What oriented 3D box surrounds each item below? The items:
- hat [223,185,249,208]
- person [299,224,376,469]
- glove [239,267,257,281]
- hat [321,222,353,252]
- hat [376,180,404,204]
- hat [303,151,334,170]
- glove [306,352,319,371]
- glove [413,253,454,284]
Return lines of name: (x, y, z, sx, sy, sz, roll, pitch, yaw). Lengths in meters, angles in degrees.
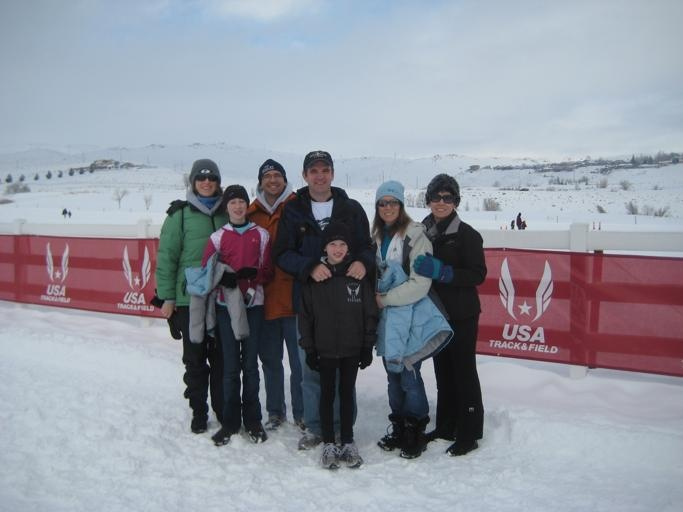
hat: (-1.153, -0.639, 5.928, 0.215, 0.232, 0.231, -4, 1, -15)
person: (-0.028, 0.912, 5.616, 0.814, 2.472, 0.467, -1, 2, 3)
glove: (-1.029, 0.199, 5.855, 0.220, 0.136, 0.093, -2, 2, -8)
hat: (-0.054, -0.209, 5.611, 0.232, 0.265, 0.273, 1, 1, -4)
hat: (0.522, -0.679, 5.830, 0.314, 0.244, 0.203, -1, 2, 3)
hat: (-0.249, -1.006, 5.668, 0.290, 0.190, 0.463, -1, 3, -2)
glove: (-0.293, 1.108, 5.649, 0.132, 0.190, 0.168, -3, -19, -1)
glove: (0.968, 0.149, 5.626, 0.390, 0.245, 0.127, 26, -10, -18)
